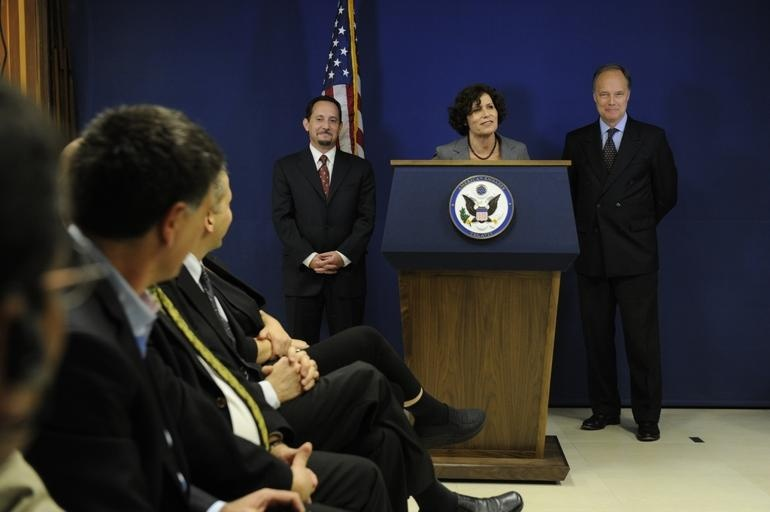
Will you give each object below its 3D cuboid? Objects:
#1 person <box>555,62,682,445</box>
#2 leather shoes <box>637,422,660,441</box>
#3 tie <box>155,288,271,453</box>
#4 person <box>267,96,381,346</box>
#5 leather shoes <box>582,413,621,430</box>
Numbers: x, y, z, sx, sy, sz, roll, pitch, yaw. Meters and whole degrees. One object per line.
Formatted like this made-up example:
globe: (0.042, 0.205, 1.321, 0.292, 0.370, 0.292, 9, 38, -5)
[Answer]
person: (1.524, -0.046, 3.878, 0.402, 2.363, 0.618, -2, 3, -44)
leather shoes: (1.635, 1.088, 3.649, 0.135, 0.087, 0.126, 1, 2, 18)
tie: (-0.517, 0.349, 1.757, 0.072, 0.568, 0.083, -32, 14, 23)
person: (-0.421, 0.010, 4.173, 0.668, 2.162, 0.644, -2, 23, -10)
leather shoes: (1.424, 1.099, 3.898, 0.265, 0.120, 0.099, 1, 1, -13)
